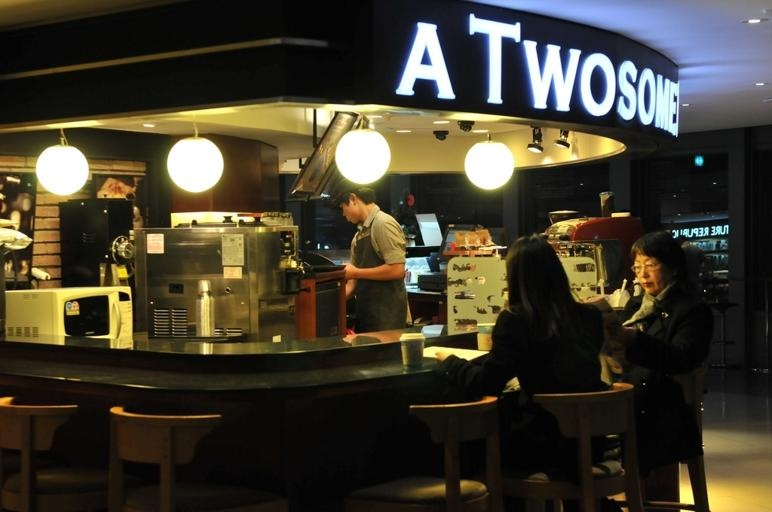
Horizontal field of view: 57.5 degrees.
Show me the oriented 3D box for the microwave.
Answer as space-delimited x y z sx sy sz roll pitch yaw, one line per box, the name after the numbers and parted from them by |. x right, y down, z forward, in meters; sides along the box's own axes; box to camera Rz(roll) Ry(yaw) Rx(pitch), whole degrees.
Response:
-2.313 0.423 5.097 0.880 0.374 1.166 0 -2 -19 | microwave

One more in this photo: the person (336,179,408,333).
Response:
-0.135 0.037 6.495 0.612 1.321 0.372 -1 -3 9 | person

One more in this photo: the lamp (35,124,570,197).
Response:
-0.787 -0.736 5.766 3.313 0.551 1.972 -1 -2 21 | lamp

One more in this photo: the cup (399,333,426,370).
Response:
0.156 0.579 4.271 0.190 0.190 0.185 -1 1 0 | cup

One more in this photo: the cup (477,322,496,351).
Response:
0.636 0.553 4.726 0.174 0.171 0.175 1 -7 0 | cup

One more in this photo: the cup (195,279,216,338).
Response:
-1.416 0.415 5.519 0.124 0.431 0.281 0 -3 -18 | cup

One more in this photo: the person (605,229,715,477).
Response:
1.712 0.600 4.438 0.540 1.526 0.770 -3 -3 38 | person
